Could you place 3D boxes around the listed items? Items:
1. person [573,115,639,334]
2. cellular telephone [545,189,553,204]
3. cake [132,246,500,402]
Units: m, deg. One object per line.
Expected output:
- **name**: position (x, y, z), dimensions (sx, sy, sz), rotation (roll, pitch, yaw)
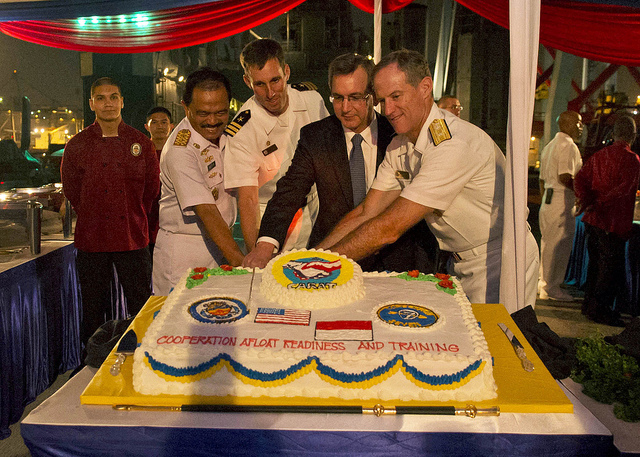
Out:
- **person**: position (3.746, -0.055, 6.448), dimensions (0.721, 2.588, 1.041), rotation (-1, 15, 4)
- **cellular telephone**: position (3.302, -0.463, 7.305), dimensions (0.043, 0.218, 0.121), rotation (-7, 16, -19)
- **cake**: position (-0.017, 0.520, 2.777), dimensions (1.838, 0.473, 0.827), rotation (-1, 16, 4)
